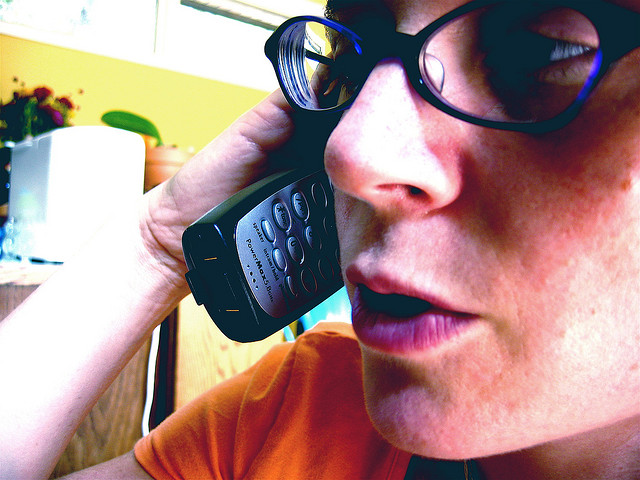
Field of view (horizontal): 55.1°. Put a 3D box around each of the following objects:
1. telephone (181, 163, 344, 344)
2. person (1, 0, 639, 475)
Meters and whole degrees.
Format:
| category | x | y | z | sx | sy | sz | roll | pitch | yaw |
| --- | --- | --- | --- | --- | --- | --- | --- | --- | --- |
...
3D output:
| category | x | y | z | sx | sy | sz | roll | pitch | yaw |
| --- | --- | --- | --- | --- | --- | --- | --- | --- | --- |
| telephone | -0.055 | 0.021 | 0.962 | 0.074 | 0.216 | 0.352 | -19 | 8 | 35 |
| person | -0.032 | 0.028 | 0.871 | 0.701 | 0.661 | 0.325 | -15 | -6 | 23 |
